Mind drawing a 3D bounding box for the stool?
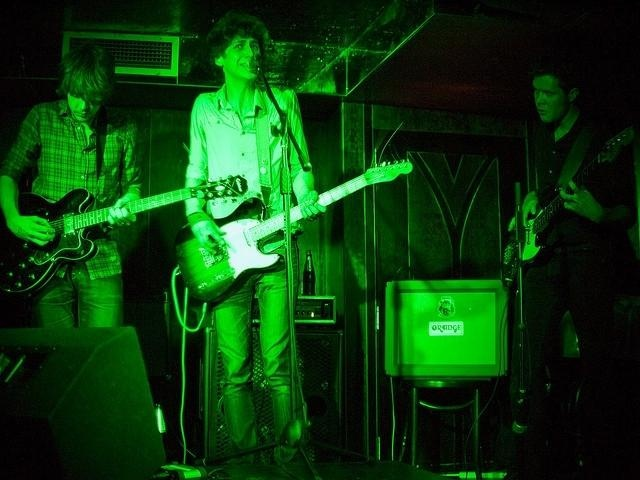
[{"bbox_3d":[0.683,1.040,4.291,0.469,0.762,0.499,0,-5,4],"label":"stool"}]

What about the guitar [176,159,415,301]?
[{"bbox_3d":[-0.225,-0.044,4.013,1.058,0.832,0.349,6,-4,-14],"label":"guitar"}]

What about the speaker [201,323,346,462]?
[{"bbox_3d":[-0.309,0.691,4.325,0.853,0.978,0.643,1,-2,-12],"label":"speaker"}]

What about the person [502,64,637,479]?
[{"bbox_3d":[1.328,0.197,3.978,0.351,2.301,0.719,5,-4,-4],"label":"person"}]
